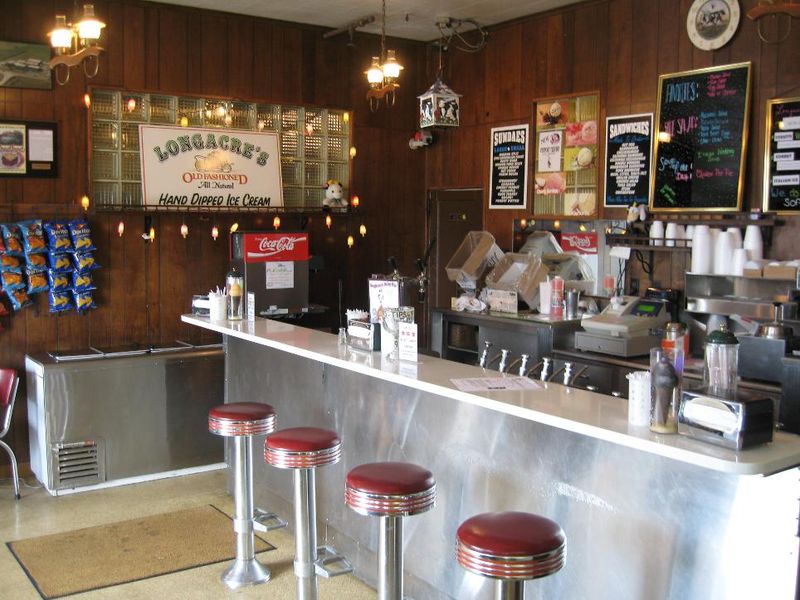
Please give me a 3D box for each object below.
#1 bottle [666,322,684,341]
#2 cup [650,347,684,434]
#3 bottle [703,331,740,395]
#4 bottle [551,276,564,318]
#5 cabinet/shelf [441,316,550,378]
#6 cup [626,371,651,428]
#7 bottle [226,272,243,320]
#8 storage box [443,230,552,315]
[{"bbox_3d":[1.190,0.138,3.135,0.067,0.078,0.071,2,4,6],"label":"bottle"},{"bbox_3d":[1.081,0.371,2.948,0.119,0.319,0.149,4,9,21],"label":"cup"},{"bbox_3d":[1.290,0.249,2.900,0.127,0.238,0.159,4,10,24],"label":"bottle"},{"bbox_3d":[1.278,-0.023,5.880,0.110,0.298,0.363,2,10,13],"label":"bottle"},{"bbox_3d":[0.764,0.365,5.999,0.318,0.473,1.166,-5,11,-29],"label":"cabinet/shelf"},{"bbox_3d":[1.000,0.412,3.020,0.083,0.207,0.127,2,9,11],"label":"cup"},{"bbox_3d":[-1.256,-0.015,5.469,0.112,0.307,0.279,-2,9,-16],"label":"bottle"},{"bbox_3d":[0.840,-0.266,6.409,0.555,0.604,0.909,-4,11,-26],"label":"storage box"}]
